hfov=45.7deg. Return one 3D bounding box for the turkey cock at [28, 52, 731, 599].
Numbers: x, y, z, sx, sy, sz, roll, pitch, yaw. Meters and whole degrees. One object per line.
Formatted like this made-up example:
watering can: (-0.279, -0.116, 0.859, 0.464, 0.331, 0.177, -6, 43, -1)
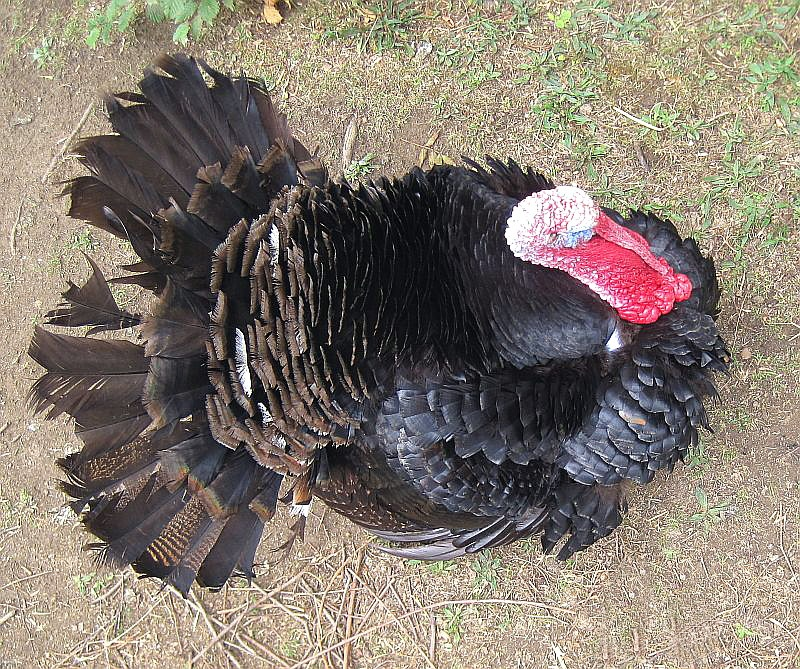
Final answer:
turkey cock: (-0.083, 0.168, 4.519, 2.729, 1.843, 1.977, 0, 73, 4)
